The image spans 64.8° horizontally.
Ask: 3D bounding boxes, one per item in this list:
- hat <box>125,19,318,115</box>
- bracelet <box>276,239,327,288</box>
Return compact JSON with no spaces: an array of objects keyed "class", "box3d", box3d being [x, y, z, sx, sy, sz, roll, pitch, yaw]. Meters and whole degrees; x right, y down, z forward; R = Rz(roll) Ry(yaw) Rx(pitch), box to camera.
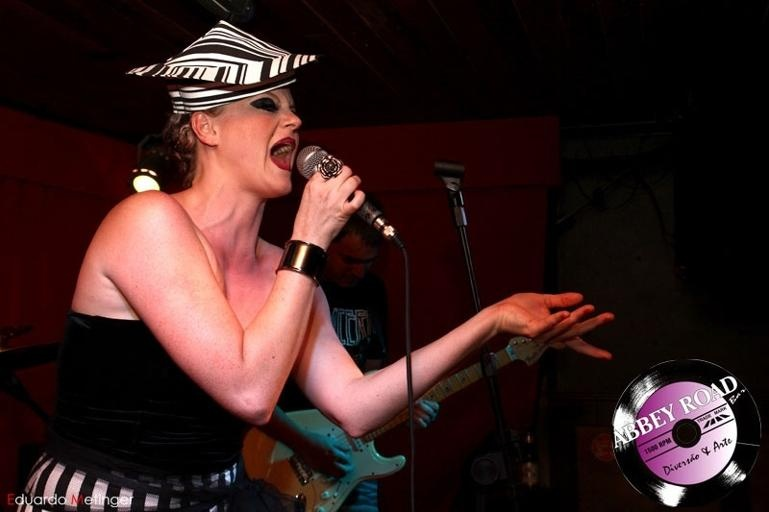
[{"class":"hat","box3d":[-0.595,-0.693,2.260,0.468,0.232,0.445,-20,11,11]},{"class":"bracelet","box3d":[-0.283,0.011,2.159,0.146,0.114,0.147,15,-15,19]}]
